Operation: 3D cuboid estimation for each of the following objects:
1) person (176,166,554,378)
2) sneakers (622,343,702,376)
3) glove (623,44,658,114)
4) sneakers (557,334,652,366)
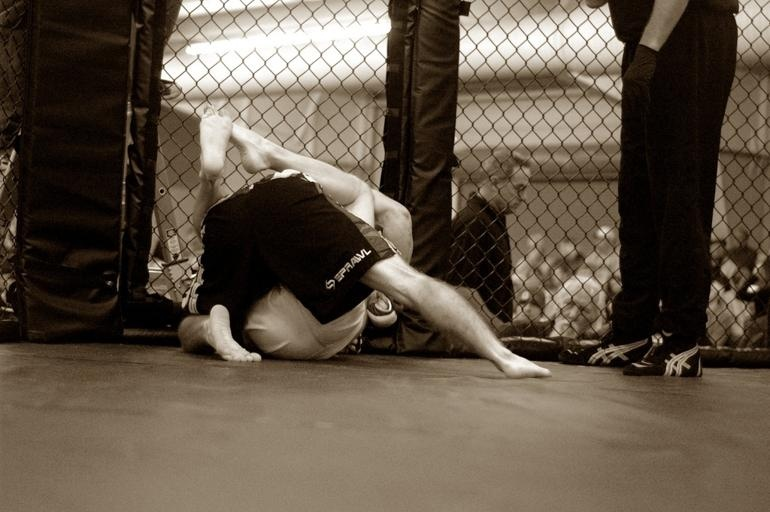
[{"bbox_3d":[-0.179,0.026,3.824,1.654,0.838,0.789,2,-9,26],"label":"person"},{"bbox_3d":[1.100,0.392,3.781,0.324,0.129,0.109,-1,2,-14],"label":"sneakers"},{"bbox_3d":[0.992,-0.689,3.740,0.115,0.244,0.172,4,-3,7],"label":"glove"},{"bbox_3d":[0.966,0.396,4.189,0.401,0.153,0.137,-1,-3,35],"label":"sneakers"}]
